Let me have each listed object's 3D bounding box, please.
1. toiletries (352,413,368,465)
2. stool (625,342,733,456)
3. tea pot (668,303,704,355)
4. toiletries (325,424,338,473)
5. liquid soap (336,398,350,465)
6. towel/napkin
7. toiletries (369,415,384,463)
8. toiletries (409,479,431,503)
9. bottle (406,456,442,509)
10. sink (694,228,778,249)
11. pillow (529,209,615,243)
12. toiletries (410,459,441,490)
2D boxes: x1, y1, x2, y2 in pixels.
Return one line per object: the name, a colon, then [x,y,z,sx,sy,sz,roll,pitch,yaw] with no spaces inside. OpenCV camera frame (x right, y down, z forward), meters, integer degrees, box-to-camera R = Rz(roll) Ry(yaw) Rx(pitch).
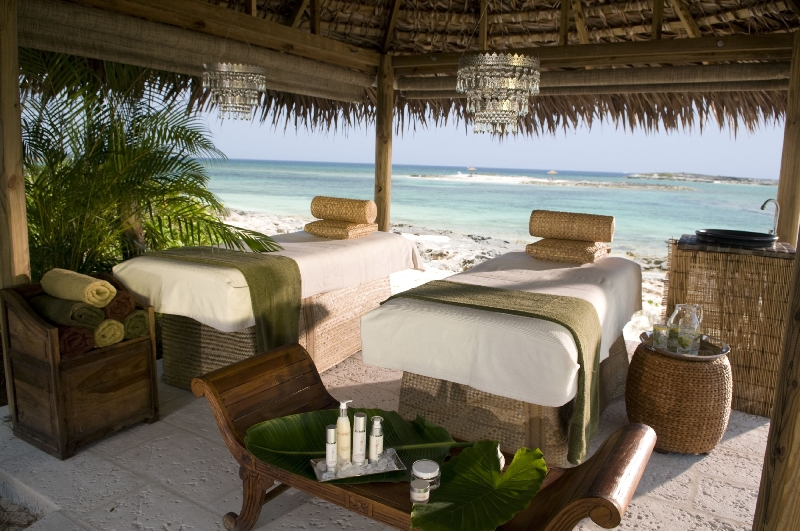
toiletries: [-0.193,0.826,2.451,0.072,0.258,0.080,1,12,-1]
stool: [1.849,0.898,3.678,0.820,0.764,0.747,2,5,15]
tea pot: [1.874,0.412,3.326,0.208,0.329,0.227,2,11,0]
toiletries: [-0.321,0.872,2.416,0.056,0.214,0.089,0,12,-9]
liquid soap: [-0.270,0.793,2.491,0.079,0.305,0.195,1,12,-6]
towel/napkin: [-2.079,0.277,3.435,0.502,0.468,0.535,10,13,35]
toiletries: [-0.110,0.829,2.526,0.076,0.232,0.210,1,11,-3]
toiletries: [0.091,1.003,2.249,0.103,0.082,0.099,-1,3,-5]
bottle: [0.111,0.966,2.266,0.136,0.161,0.175,0,1,2]
sink: [2.651,-0.213,4.014,0.557,0.110,0.373,7,12,28]
pillow: [1.519,-0.328,4.426,0.691,0.247,0.313,5,1,21]
toiletries: [0.124,0.932,2.285,0.120,0.068,0.116,-1,3,-5]
